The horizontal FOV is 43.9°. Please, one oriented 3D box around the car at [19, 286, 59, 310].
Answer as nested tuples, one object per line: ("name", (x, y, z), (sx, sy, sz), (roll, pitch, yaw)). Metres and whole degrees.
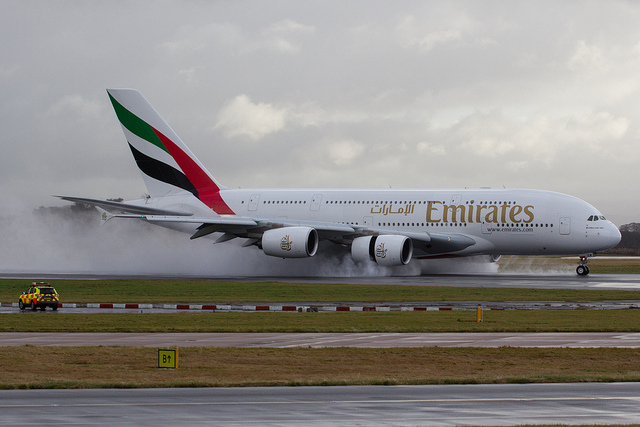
("car", (-12.564, 3.735, 35.398), (1.115, 0.638, 1.713), (0, 4, -36))
